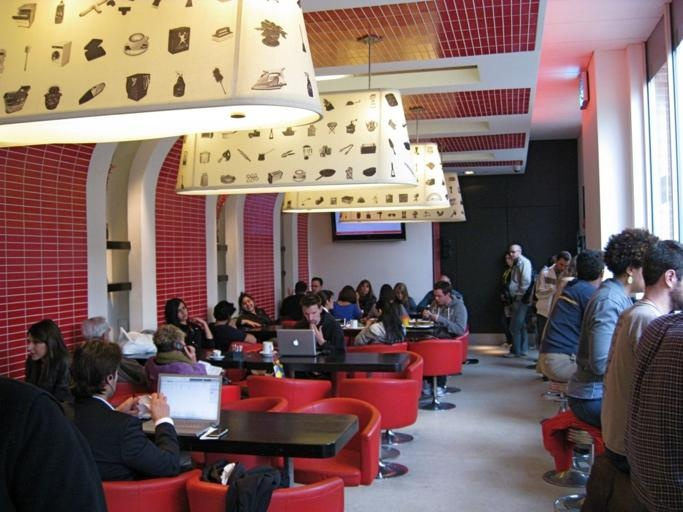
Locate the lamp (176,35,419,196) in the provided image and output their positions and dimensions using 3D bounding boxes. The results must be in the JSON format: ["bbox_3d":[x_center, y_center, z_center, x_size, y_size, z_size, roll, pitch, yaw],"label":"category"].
[{"bbox_3d":[-0.190,-0.894,3.942,1.297,0.511,0.522,3,-28,8],"label":"lamp"}]

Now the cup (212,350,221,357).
[{"bbox_3d":[-1.303,1.023,5.797,0.057,0.079,0.078,12,-13,-8],"label":"cup"}]

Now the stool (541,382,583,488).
[{"bbox_3d":[1.947,1.541,4.797,0.421,0.756,0.433,-3,-3,26],"label":"stool"}]

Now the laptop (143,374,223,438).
[{"bbox_3d":[-0.936,0.902,3.311,0.427,0.371,0.300,1,6,1],"label":"laptop"}]

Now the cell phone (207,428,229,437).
[{"bbox_3d":[-0.753,1.063,3.322,0.085,0.018,0.160,0,-2,-2],"label":"cell phone"}]

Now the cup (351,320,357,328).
[{"bbox_3d":[0.202,0.999,8.109,0.083,0.100,0.086,-1,5,0],"label":"cup"}]

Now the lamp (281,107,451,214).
[{"bbox_3d":[0.279,-0.878,5.959,1.588,0.776,1.312,0,4,-8],"label":"lamp"}]

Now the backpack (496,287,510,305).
[{"bbox_3d":[3.404,0.867,11.548,0.136,0.367,0.247,2,10,-3],"label":"backpack"}]
